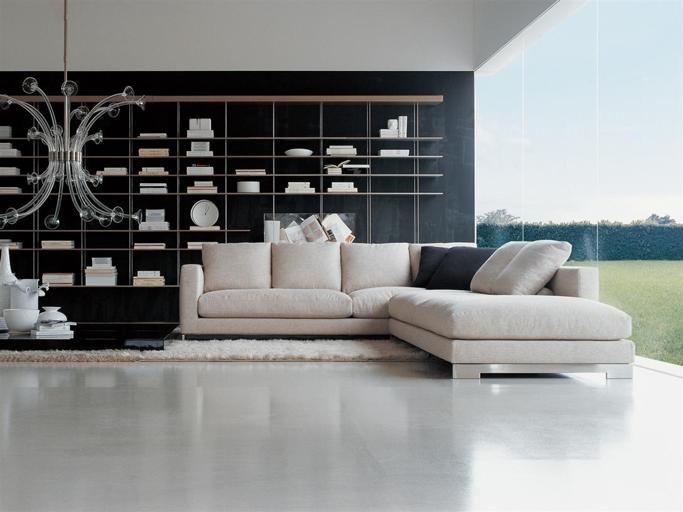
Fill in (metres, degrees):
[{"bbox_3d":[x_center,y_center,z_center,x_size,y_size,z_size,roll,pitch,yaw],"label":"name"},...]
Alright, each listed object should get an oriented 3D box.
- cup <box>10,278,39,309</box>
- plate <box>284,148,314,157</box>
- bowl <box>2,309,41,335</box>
[{"bbox_3d":[-2.500,0.302,5.804,0.265,0.228,0.145,0,7,-4],"label":"cup"},{"bbox_3d":[-0.483,-1.195,8.534,0.334,0.104,0.264,0,6,-8],"label":"plate"},{"bbox_3d":[-2.491,0.524,5.763,0.240,0.138,0.224,0,-10,0],"label":"bowl"}]
